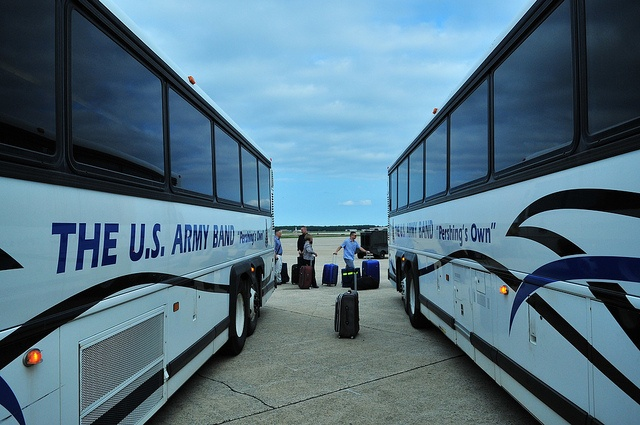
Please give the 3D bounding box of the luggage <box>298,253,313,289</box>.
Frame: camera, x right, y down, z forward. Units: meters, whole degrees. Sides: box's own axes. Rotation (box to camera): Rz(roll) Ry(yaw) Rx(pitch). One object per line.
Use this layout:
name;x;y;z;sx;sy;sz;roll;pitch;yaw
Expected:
luggage;-0.541;2.271;14.396;0.537;1.128;1.124;0;-2;-4

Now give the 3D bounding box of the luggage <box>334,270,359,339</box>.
luggage;0.618;2.134;8.483;0.715;1.841;1.084;1;-11;2

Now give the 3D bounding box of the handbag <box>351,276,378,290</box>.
handbag;1.799;2.621;14.297;0.991;0.679;0.816;1;0;-6
